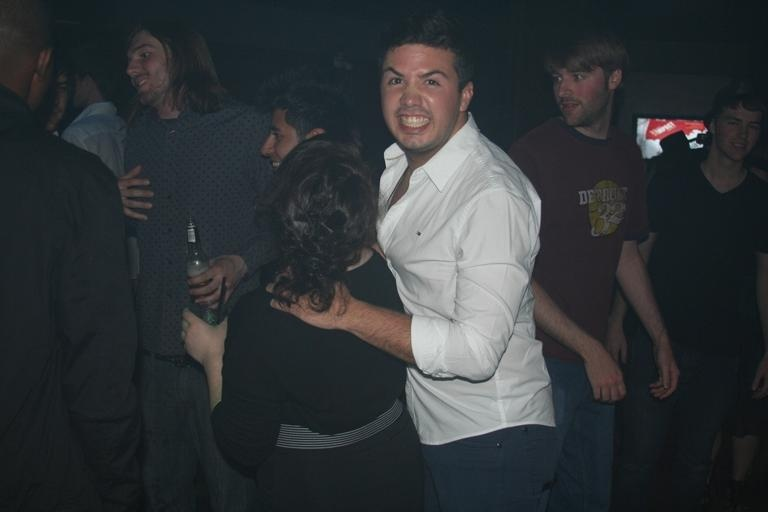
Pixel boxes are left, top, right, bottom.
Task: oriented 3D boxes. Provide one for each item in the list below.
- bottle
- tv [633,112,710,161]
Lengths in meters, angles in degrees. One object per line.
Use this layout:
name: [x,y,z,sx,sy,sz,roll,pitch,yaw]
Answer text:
bottle: [-0.647,0.059,2.494,0.156,0.386,0.089,3,16,28]
tv: [1.115,-0.454,2.640,0.024,0.171,0.303,-13,15,-36]
